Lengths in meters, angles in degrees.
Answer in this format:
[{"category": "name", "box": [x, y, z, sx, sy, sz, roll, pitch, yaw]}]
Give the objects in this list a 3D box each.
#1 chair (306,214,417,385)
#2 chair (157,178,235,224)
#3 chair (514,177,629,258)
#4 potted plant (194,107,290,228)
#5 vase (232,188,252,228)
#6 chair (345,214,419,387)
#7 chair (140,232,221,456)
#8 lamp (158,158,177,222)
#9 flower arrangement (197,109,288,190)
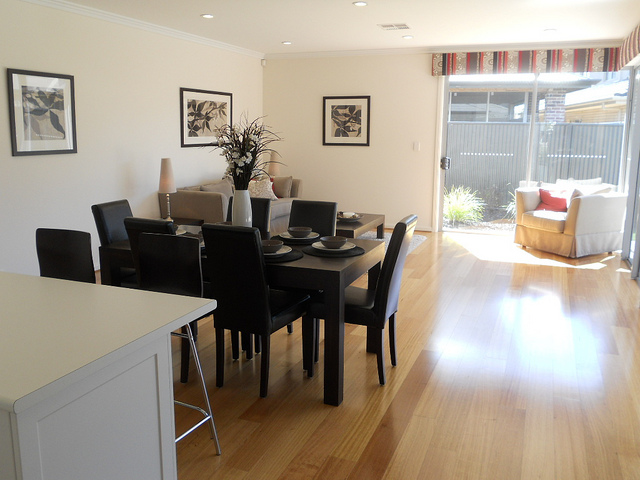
[{"category": "chair", "box": [0.247, 0.400, 3.232, 0.658, 1.111, 0.552, 4, 9, 13]}, {"category": "chair", "box": [-1.574, -0.476, 5.782, 0.630, 0.518, 0.618, 6, 15, 24]}, {"category": "chair", "box": [3.455, -0.299, 6.491, 1.082, 1.177, 1.129, -4, 9, -26]}, {"category": "potted plant", "box": [-0.573, -0.459, 3.450, 0.488, 0.740, 0.474, 13, 22, 37]}, {"category": "vase", "box": [-0.581, -0.205, 3.454, 0.163, 0.345, 0.161, -7, 7, -37]}, {"category": "chair", "box": [0.314, 0.422, 3.228, 0.558, 1.002, 0.477, 5, 11, 20]}, {"category": "chair", "box": [-0.853, 0.654, 2.678, 0.432, 1.234, 0.422, 3, 6, 9]}, {"category": "lamp", "box": [-1.977, -0.827, 5.974, 0.229, 0.460, 0.342, -5, 15, -20]}, {"category": "flower arrangement", "box": [-0.565, -0.584, 3.410, 0.560, 0.530, 0.518, 8, 23, 4]}]
